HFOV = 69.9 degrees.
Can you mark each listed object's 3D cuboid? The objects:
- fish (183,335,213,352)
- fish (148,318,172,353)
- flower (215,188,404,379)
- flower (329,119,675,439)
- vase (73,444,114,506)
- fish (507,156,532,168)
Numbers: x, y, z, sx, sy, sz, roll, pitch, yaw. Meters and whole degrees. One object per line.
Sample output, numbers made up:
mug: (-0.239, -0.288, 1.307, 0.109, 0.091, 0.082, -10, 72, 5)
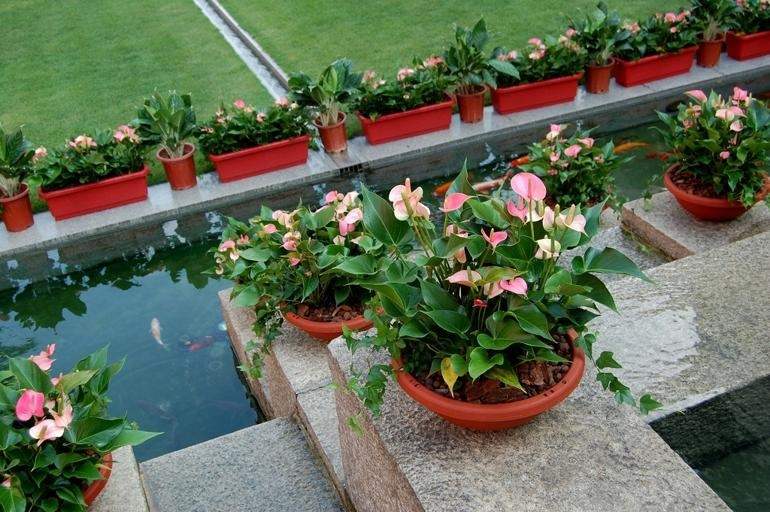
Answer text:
fish: (-1.562, 0.725, 4.641, 0.226, 0.029, 0.125, -23, 41, -15)
fish: (-1.959, 0.666, 4.745, 0.121, 0.096, 0.339, -19, 45, -3)
flower: (-0.580, 0.026, 3.514, 1.166, 0.641, 1.211, 13, 50, 18)
flower: (0.390, 0.068, 2.585, 1.243, 0.884, 1.258, -4, 45, -7)
vase: (-1.465, 1.124, 2.818, 0.210, 0.081, 0.207, -48, 30, 17)
fish: (1.484, -1.060, 6.133, 0.218, 0.082, 0.120, -21, 49, 36)
